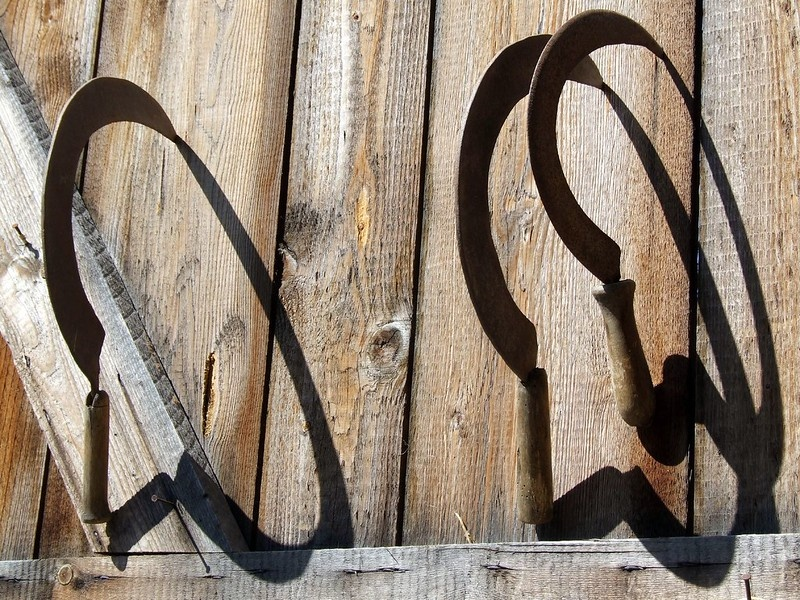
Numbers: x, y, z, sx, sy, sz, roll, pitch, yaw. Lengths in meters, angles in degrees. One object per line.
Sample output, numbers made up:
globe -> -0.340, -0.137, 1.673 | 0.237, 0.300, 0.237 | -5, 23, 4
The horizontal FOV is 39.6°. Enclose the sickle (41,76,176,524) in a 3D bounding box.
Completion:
sickle -> -0.360, -0.001, 1.356 | 0.030, 0.513, 0.163 | -3, -5, 36

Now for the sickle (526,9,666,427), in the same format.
sickle -> 0.215, -0.101, 1.296 | 0.152, 0.501, 0.043 | -10, 11, -12
